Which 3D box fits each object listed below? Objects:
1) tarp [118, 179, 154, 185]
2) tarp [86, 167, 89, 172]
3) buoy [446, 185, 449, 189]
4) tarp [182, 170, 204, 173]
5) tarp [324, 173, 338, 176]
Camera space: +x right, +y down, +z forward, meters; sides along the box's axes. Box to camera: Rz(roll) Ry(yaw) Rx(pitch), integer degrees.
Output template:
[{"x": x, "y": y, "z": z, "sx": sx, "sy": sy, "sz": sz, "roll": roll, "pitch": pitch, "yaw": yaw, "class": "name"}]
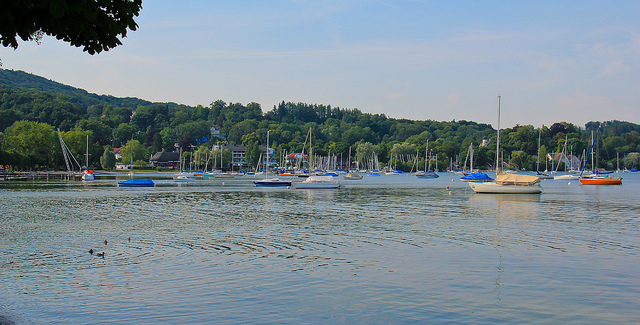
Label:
[{"x": -66.236, "y": 7.048, "z": 299.280, "sx": 11.768, "sy": 1.811, "sz": 3.627, "roll": 3, "pitch": -4, "yaw": -29, "class": "tarp"}, {"x": -95.448, "y": 3.016, "z": 341.674, "sx": 0.627, "sy": 2.266, "sz": 27.003, "roll": 2, "pitch": -2, "yaw": -17, "class": "tarp"}, {"x": 45.397, "y": 8.418, "z": 294.420, "sx": 0.449, "sy": 0.832, "sz": 0.496, "roll": 8, "pitch": -2, "yaw": -32, "class": "buoy"}, {"x": -61.848, "y": 4.309, "z": 406.406, "sx": 1.246, "sy": 1.041, "sz": 12.426, "roll": 5, "pitch": 1, "yaw": 34, "class": "tarp"}, {"x": 5.420, "y": 5.446, "z": 382.131, "sx": 4.928, "sy": 1.377, "sz": 13.576, "roll": 0, "pitch": -2, "yaw": 10, "class": "tarp"}]
